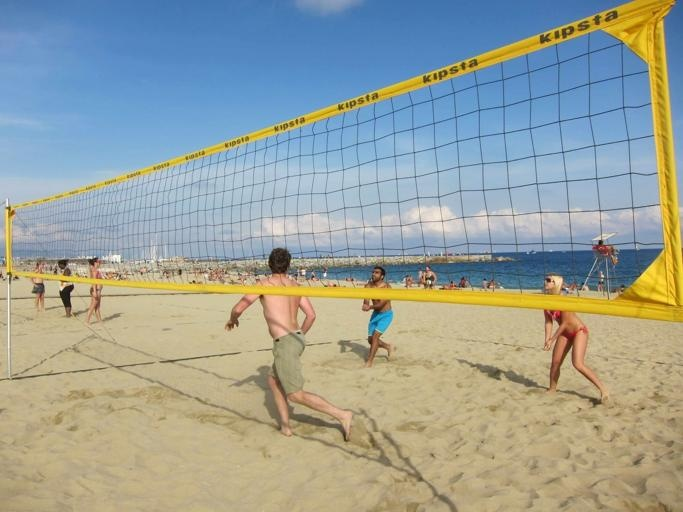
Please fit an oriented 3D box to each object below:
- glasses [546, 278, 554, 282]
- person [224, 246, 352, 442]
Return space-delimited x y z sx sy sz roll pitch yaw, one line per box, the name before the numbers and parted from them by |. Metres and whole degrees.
glasses | 1.969 0.234 4.933 0.048 0.034 0.011 -8 -37 21
person | -0.466 0.790 4.571 0.917 1.698 0.747 -4 9 -18
